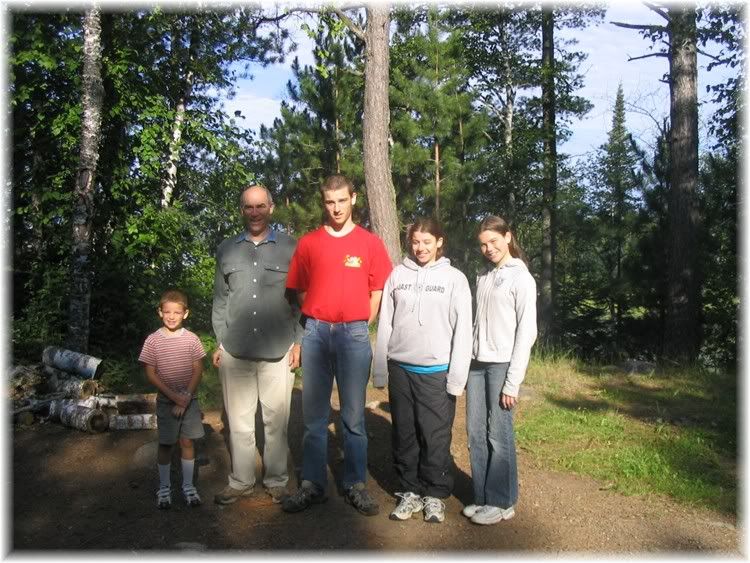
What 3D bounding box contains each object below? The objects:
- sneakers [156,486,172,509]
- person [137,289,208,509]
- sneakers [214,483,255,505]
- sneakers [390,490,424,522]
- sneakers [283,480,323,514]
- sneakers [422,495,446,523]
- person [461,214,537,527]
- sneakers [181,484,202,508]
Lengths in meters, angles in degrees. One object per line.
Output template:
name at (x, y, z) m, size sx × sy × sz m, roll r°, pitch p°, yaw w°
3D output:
sneakers at (-2.346, 2.380, 6.788) m, size 0.138 × 0.168 × 0.173 m, roll -4°, pitch 13°, yaw -18°
person at (-2.248, 1.292, 6.909) m, size 0.682 × 2.288 × 0.791 m, roll -5°, pitch 13°, yaw -23°
sneakers at (-1.617, 2.388, 7.000) m, size 0.400 × 0.206 × 0.176 m, roll 1°, pitch -2°, yaw -29°
sneakers at (0.325, 2.432, 6.678) m, size 0.379 × 0.231 × 0.222 m, roll -9°, pitch 16°, yaw -35°
sneakers at (-0.787, 2.369, 6.906) m, size 0.215 × 0.297 × 0.552 m, roll 16°, pitch 12°, yaw 41°
sneakers at (0.652, 2.439, 6.653) m, size 0.265 × 0.252 × 0.261 m, roll -1°, pitch 13°, yaw -6°
person at (1.308, 0.947, 6.628) m, size 0.722 × 3.228 × 0.804 m, roll -1°, pitch 12°, yaw -5°
sneakers at (-2.073, 2.371, 6.916) m, size 0.194 × 0.177 × 0.320 m, roll -4°, pitch 14°, yaw -21°
